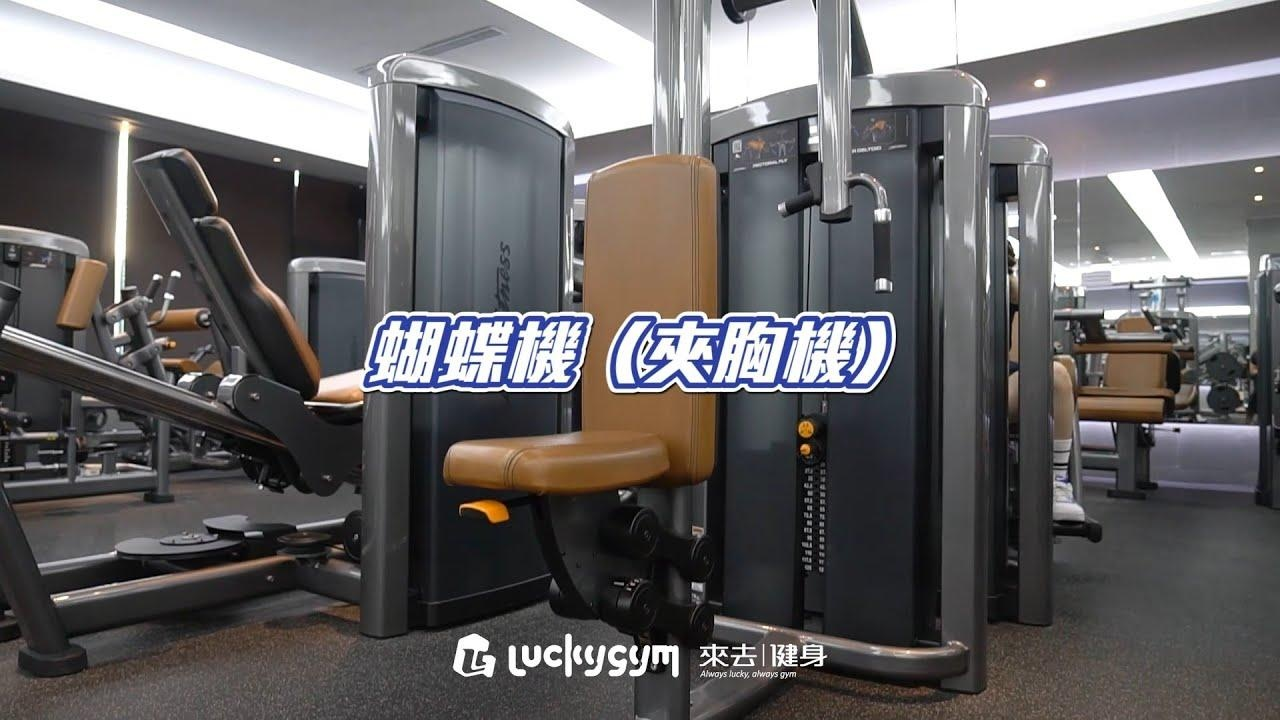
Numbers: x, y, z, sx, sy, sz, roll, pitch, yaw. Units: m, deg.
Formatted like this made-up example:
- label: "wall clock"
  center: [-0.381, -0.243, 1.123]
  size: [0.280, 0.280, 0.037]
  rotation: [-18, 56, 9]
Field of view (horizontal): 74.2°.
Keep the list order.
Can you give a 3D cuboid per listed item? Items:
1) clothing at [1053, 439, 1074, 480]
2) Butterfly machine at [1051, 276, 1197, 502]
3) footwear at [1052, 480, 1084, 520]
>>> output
- label: "clothing"
  center: [2.412, 0.562, 4.778]
  size: [0.077, 0.204, 0.295]
  rotation: [-4, -2, 39]
- label: "Butterfly machine"
  center: [3.947, 0.085, 6.737]
  size: [0.936, 1.730, 1.844]
  rotation: [3, -1, 35]
- label: "footwear"
  center: [2.352, 0.765, 4.680]
  size: [0.176, 0.231, 0.174]
  rotation: [-2, -1, 4]
